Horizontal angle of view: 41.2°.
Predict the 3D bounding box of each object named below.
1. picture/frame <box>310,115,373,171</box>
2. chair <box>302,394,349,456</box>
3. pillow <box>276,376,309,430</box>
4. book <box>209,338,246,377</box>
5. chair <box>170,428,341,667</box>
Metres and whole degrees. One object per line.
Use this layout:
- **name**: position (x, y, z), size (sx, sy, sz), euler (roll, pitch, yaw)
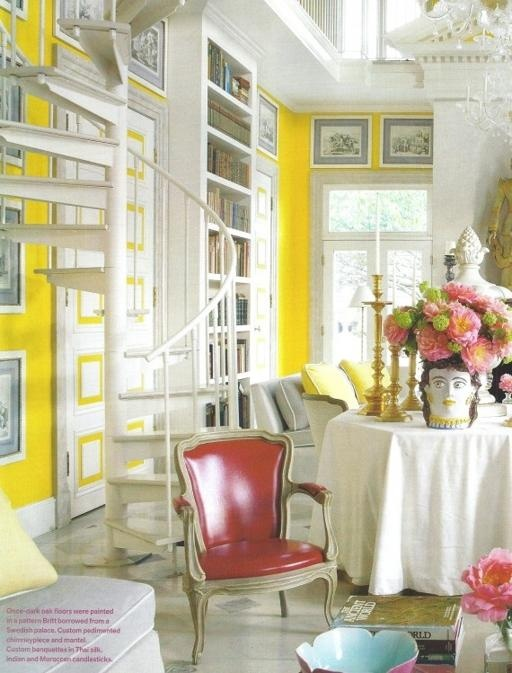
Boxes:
- **picture/frame**: position (1.018, -2.300, 7.999), size (0.671, 0.531, 0.050), euler (0, 6, 6)
- **chair**: position (0.381, 0.430, 3.442), size (0.288, 0.280, 0.269), euler (-3, -4, -13)
- **pillow**: position (0.275, 0.433, 4.940), size (0.200, 0.373, 0.572), euler (-2, 3, 13)
- **book**: position (-0.203, 0.177, 6.087), size (0.297, 0.356, 0.372), euler (-1, 2, -31)
- **chair**: position (-0.018, 0.681, 2.336), size (0.536, 0.631, 0.441), euler (-1, 0, -17)
